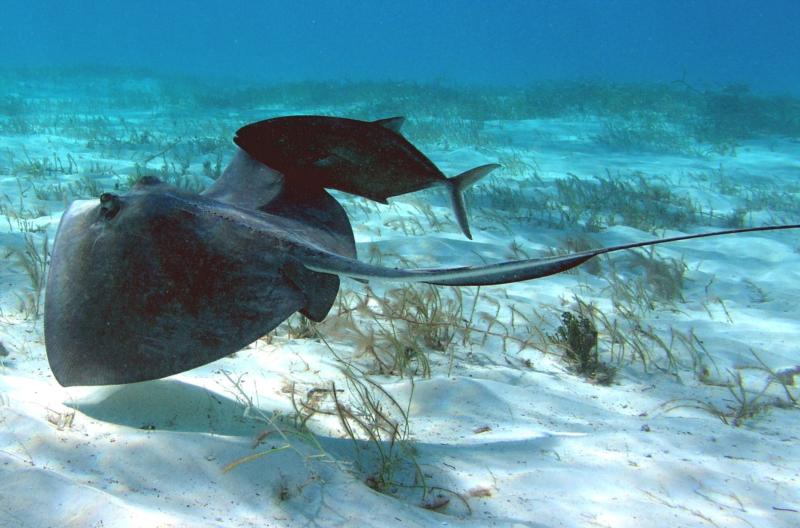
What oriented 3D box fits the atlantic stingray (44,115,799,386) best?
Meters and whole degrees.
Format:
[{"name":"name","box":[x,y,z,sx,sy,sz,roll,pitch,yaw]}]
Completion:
[{"name":"atlantic stingray","box":[-1.246,-0.237,5.354,3.097,2.047,1.761,1,13,-8]}]
